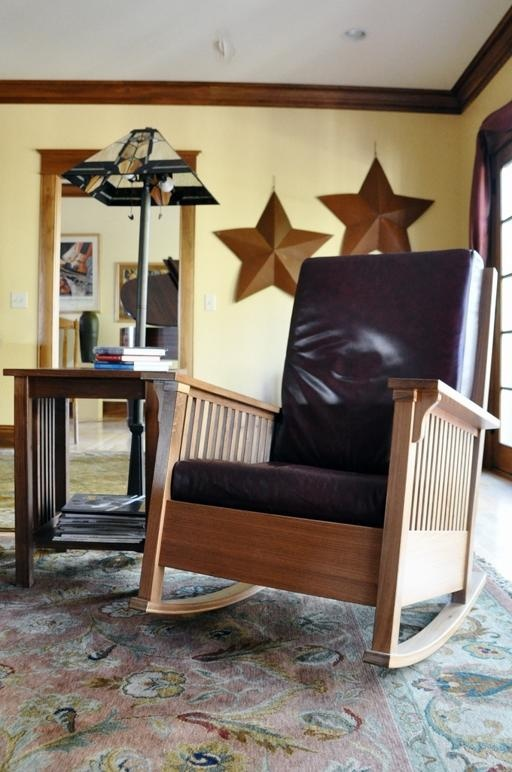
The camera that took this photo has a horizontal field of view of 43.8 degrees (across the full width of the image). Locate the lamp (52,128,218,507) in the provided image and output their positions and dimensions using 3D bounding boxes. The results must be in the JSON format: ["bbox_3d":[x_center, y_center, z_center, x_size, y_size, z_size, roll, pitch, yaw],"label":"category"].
[{"bbox_3d":[-0.386,-0.246,2.184,0.561,1.245,0.531,2,3,-13],"label":"lamp"}]

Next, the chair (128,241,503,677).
[{"bbox_3d":[0.172,0.103,1.431,0.693,0.842,0.818,3,4,43],"label":"chair"}]
